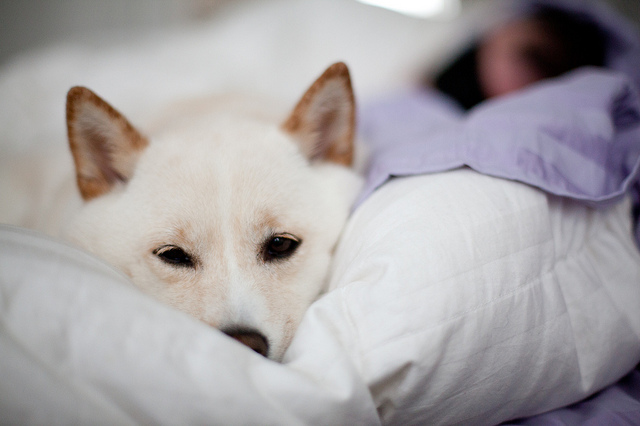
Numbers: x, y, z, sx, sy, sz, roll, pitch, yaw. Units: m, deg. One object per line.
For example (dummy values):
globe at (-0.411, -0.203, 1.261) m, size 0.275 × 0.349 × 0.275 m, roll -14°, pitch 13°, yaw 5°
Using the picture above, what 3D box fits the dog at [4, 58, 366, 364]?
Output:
dog at (-0.236, -0.022, 1.396) m, size 0.576 × 0.394 × 0.696 m, roll -5°, pitch 24°, yaw -14°
